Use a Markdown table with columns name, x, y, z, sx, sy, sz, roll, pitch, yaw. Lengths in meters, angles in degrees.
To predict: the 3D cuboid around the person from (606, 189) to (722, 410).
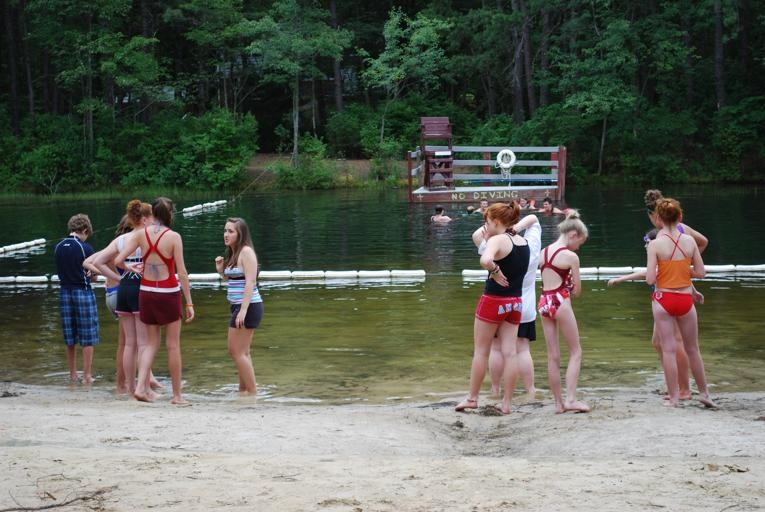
| name | x | y | z | sx | sy | sz | roll | pitch | yaw |
| --- | --- | --- | --- | --- | --- | --- | --- | --- | --- |
| person | 5.720 | 0.886 | 21.036 | 1.208 | 4.045 | 0.767 | -1 | 4 | 13 |

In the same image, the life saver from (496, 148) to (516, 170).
| name | x | y | z | sx | sy | sz | roll | pitch | yaw |
| --- | --- | --- | --- | --- | --- | --- | --- | --- | --- |
| life saver | 5.322 | -4.191 | 46.240 | 0.674 | 0.902 | 1.070 | -4 | 5 | -28 |

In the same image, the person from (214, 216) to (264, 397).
| name | x | y | z | sx | sy | sz | roll | pitch | yaw |
| --- | --- | --- | --- | --- | --- | --- | --- | --- | --- |
| person | -2.872 | 1.016 | 21.586 | 0.797 | 3.529 | 0.404 | -1 | 4 | 10 |
